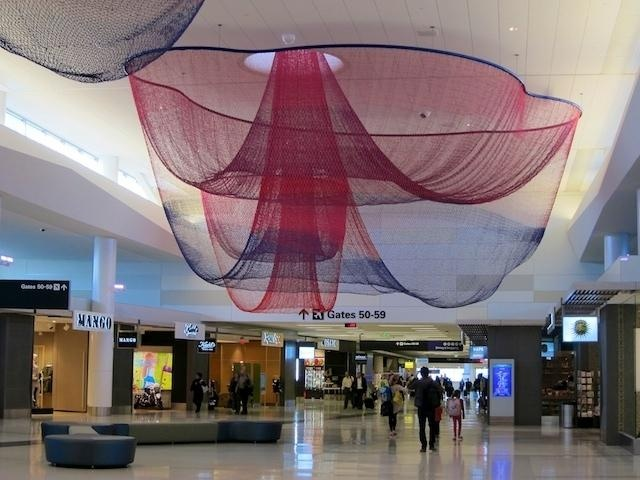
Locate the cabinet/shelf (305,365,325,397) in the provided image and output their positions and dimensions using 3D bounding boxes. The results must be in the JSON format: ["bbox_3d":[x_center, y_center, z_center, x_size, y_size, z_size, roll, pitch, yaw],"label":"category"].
[{"bbox_3d":[-0.467,11.045,47.117,1.793,2.306,0.713,5,-10,-24],"label":"cabinet/shelf"}]

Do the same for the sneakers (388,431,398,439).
[{"bbox_3d":[2.085,5.641,17.544,0.168,0.204,0.500,-1,-11,5],"label":"sneakers"}]

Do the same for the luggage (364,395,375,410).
[{"bbox_3d":[2.755,9.197,34.350,0.546,0.808,1.072,-3,-12,3],"label":"luggage"}]

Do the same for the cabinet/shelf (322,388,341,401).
[{"bbox_3d":[0.808,11.724,46.310,1.509,0.824,1.838,-2,-12,-1],"label":"cabinet/shelf"}]

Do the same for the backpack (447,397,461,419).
[{"bbox_3d":[3.629,4.523,16.330,0.422,0.507,0.433,-2,-12,2],"label":"backpack"}]

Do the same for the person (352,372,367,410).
[{"bbox_3d":[2.222,8.579,34.505,0.848,2.010,1.433,-3,-11,3],"label":"person"}]

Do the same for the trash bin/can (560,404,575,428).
[{"bbox_3d":[9.126,6.511,22.435,0.496,0.820,1.073,-6,-12,20],"label":"trash bin/can"}]
